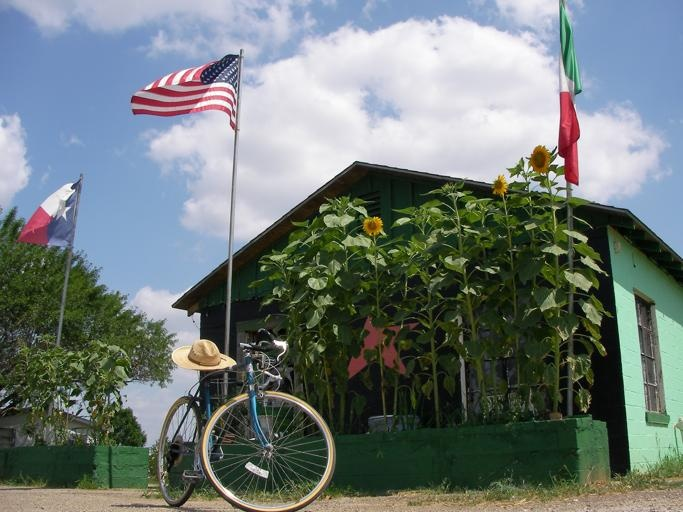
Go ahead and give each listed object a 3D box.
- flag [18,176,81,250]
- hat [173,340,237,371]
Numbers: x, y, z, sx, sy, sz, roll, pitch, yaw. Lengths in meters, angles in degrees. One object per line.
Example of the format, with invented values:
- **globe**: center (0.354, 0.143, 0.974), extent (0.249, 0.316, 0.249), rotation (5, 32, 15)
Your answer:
- **flag**: center (-7.037, -0.871, 16.551), extent (1.618, 2.349, 0.312), rotation (4, -25, -16)
- **hat**: center (-1.459, 1.072, 7.199), extent (0.664, 0.358, 0.288), rotation (7, -21, -13)
